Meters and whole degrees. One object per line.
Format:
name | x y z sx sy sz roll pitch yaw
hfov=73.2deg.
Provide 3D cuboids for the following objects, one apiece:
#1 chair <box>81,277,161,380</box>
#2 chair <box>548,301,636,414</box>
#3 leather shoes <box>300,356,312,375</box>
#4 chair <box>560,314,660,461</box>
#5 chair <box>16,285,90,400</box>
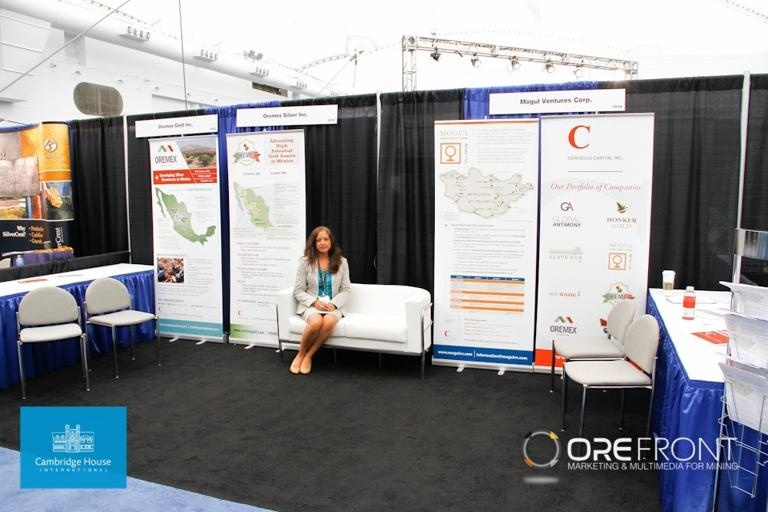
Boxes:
chair | -3.140 0.810 6.209 0.769 1.046 0.762 1 7 5
chair | 2.153 0.929 5.316 0.785 0.958 0.607 -4 3 9
leather shoes | -0.924 1.283 6.134 0.113 0.187 0.168 2 8 10
chair | 2.078 1.086 4.774 0.889 1.122 0.831 0 3 26
chair | -3.614 0.904 5.643 0.725 1.079 0.753 5 9 40
